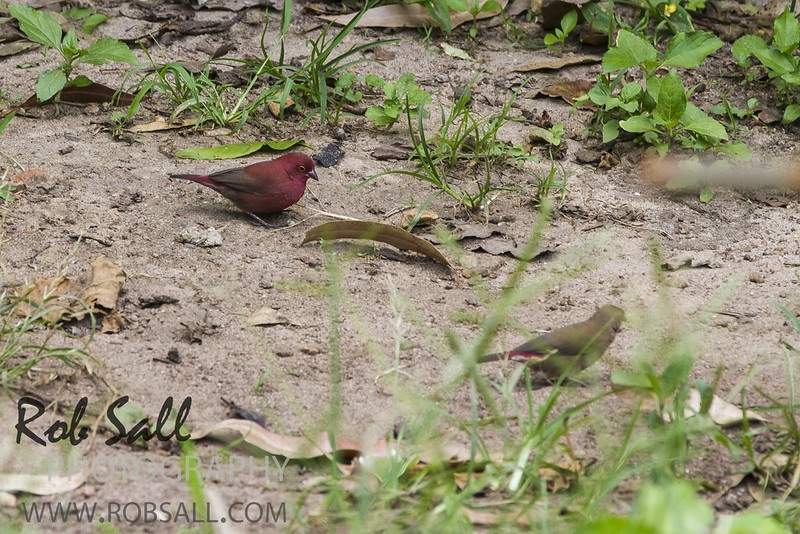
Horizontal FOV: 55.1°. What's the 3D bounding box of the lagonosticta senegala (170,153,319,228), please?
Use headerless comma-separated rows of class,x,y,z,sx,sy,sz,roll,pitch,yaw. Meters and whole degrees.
lagonosticta senegala,-1.030,-0.529,5.014,1.072,0.472,0.304,5,20,11
